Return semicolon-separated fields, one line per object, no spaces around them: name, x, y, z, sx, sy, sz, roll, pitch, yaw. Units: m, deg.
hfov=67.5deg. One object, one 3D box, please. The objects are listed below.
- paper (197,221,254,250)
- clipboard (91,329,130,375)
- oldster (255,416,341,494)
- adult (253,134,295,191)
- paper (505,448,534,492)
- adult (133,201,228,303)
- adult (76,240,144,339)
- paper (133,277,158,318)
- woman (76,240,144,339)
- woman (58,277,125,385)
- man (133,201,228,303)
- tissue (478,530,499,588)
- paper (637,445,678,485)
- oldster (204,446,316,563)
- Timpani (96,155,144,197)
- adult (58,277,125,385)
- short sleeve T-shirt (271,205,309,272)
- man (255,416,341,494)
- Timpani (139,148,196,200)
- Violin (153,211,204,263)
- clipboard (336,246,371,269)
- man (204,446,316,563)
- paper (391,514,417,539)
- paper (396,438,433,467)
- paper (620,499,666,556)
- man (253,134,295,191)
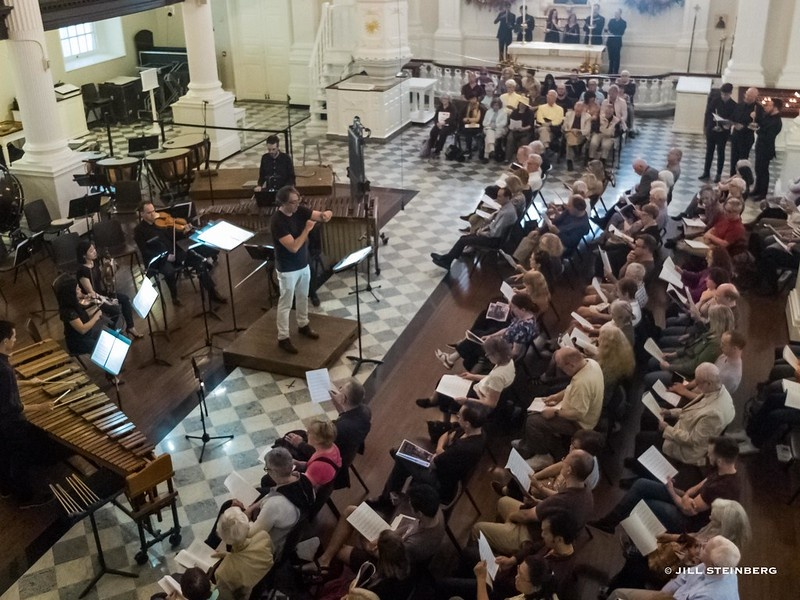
paper;-2.031;-0.732;6.900;0.420;0.106;0.431;33;44;17
clipboard;-2.804;0.480;5.899;0.466;0.501;0.109;-19;78;-24
oldster;-0.871;1.363;5.166;0.444;0.739;0.335;33;38;9
adult;-2.126;-2.232;10.079;0.710;1.018;0.613;-5;29;-12
paper;0.956;1.351;4.796;0.073;0.314;0.313;-33;11;41
adult;-3.063;-0.668;8.334;1.108;1.451;0.659;11;37;14
adult;-3.653;-0.119;7.526;0.361;0.522;1.155;-19;25;-32
paper;-2.721;-0.013;6.470;0.386;0.418;0.107;-22;-30;40
woman;-3.653;-0.119;7.526;0.361;0.522;1.155;-19;25;-32
woman;-3.451;0.364;6.678;0.578;1.189;0.462;-17;48;-32
man;-3.084;-0.670;8.334;1.056;1.419;0.644;12;38;13
tissue;0.599;1.751;4.074;0.096;0.310;0.228;-11;30;25
paper;2.123;1.380;4.914;0.254;0.337;0.262;15;28;37
oldster;-1.101;1.672;4.803;0.617;0.913;0.386;32;35;17
Timpani;-5.015;-2.315;10.694;0.691;0.600;0.760;1;33;-4
adult;-3.451;0.364;6.678;0.578;1.189;0.462;-17;48;-32
short sleeve T-shirt;-1.244;-0.708;6.860;0.345;0.649;0.572;8;36;11
man;-0.871;1.363;5.166;0.444;0.739;0.335;33;38;9
Timpani;-4.384;-2.436;11.593;0.780;0.832;0.838;-13;27;-21
Violin;-3.114;-1.009;8.618;0.830;0.166;0.383;25;42;-13
clipboard;-0.490;-0.430;6.687;0.393;0.092;0.226;-42;27;-6
man;-1.101;1.672;4.803;0.617;0.913;0.386;32;35;17
paper;0.032;1.698;4.493;0.120;0.032;0.135;15;34;40
paper;0.123;1.277;5.026;0.322;0.165;0.277;-1;23;3
paper;1.738;1.624;4.257;0.390;0.147;0.299;36;5;-30
man;-2.135;-2.217;10.065;0.735;1.049;0.643;-6;29;-15
